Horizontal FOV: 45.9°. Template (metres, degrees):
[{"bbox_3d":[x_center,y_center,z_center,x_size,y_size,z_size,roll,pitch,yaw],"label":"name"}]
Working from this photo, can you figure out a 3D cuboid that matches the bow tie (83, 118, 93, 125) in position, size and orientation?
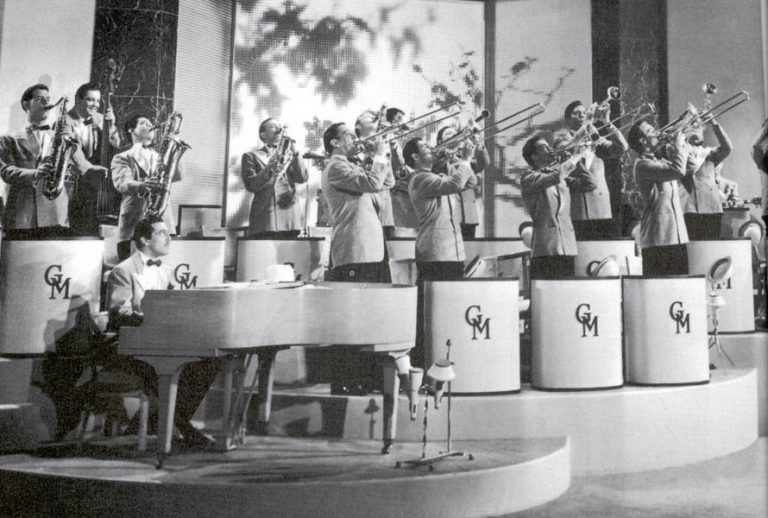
[{"bbox_3d":[-2.267,-1.055,6.956,0.071,0.055,0.011,3,-8,-21],"label":"bow tie"}]

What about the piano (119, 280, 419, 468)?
[{"bbox_3d":[-0.812,0.761,6.738,1.662,1.160,2.051,4,-3,-7],"label":"piano"}]

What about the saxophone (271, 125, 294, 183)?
[{"bbox_3d":[-0.800,-0.821,7.260,0.173,0.507,0.102,11,-6,-25],"label":"saxophone"}]

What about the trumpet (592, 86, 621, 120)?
[{"bbox_3d":[1.808,-1.271,7.335,0.282,0.151,0.115,-41,-32,8],"label":"trumpet"}]

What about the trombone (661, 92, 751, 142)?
[{"bbox_3d":[2.585,-1.141,7.288,0.703,0.392,0.365,1,3,-14],"label":"trombone"}]

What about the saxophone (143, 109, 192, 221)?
[{"bbox_3d":[-1.692,-0.724,7.068,0.255,0.845,0.200,1,2,31],"label":"saxophone"}]

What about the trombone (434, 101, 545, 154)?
[{"bbox_3d":[0.912,-1.160,7.529,1.375,0.266,0.279,-24,27,-39],"label":"trombone"}]
